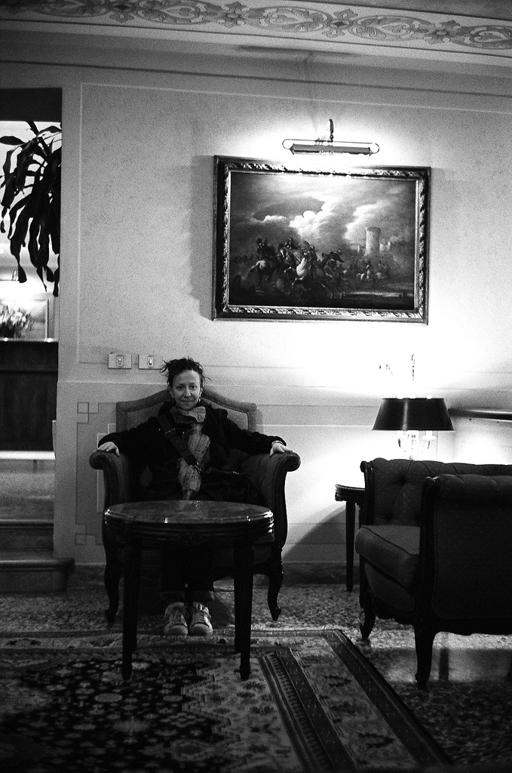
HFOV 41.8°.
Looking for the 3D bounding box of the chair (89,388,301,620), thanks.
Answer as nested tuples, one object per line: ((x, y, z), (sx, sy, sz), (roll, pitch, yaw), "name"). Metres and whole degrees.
((-0.279, 0.515, 3.264), (0.929, 1.110, 0.944), (-1, -6, 1), "chair")

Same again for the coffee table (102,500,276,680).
((-0.234, 0.695, 2.335), (0.567, 0.513, 0.507), (3, -5, -9), "coffee table")

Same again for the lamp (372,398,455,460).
((0.851, 0.204, 3.622), (0.425, 0.417, 0.397), (-1, 2, -13), "lamp")

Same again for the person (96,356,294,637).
((-0.348, 0.492, 3.243), (0.918, 1.307, 0.685), (2, -10, -14), "person")
